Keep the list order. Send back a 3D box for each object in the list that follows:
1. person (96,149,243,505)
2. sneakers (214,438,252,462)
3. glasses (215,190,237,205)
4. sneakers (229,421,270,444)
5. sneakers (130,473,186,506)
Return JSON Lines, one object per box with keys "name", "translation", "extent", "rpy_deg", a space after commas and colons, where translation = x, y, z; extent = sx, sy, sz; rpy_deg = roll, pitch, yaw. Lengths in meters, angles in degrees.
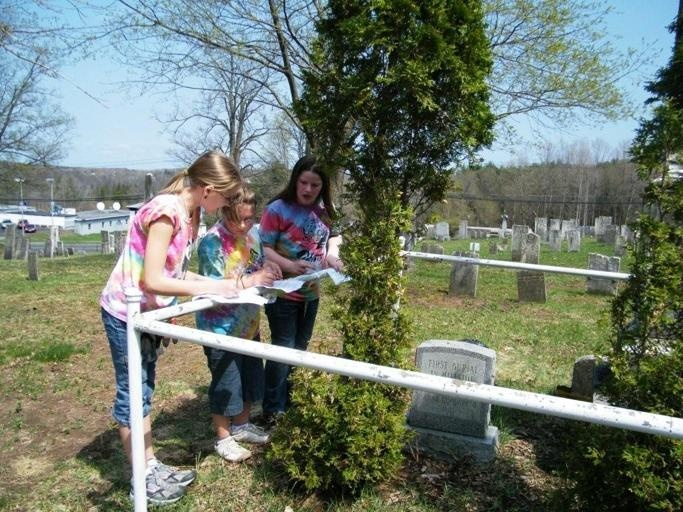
{"name": "person", "translation": [-1.148, 0.477, 3.394], "extent": [0.914, 2.380, 0.679], "rpy_deg": [1, 4, -17]}
{"name": "sneakers", "translation": [-0.846, 1.476, 3.943], "extent": [0.259, 0.122, 0.139], "rpy_deg": [6, 9, 30]}
{"name": "glasses", "translation": [-0.794, -0.421, 3.540], "extent": [0.112, 0.099, 0.087], "rpy_deg": [-11, -6, 26]}
{"name": "sneakers", "translation": [-0.758, 1.447, 4.226], "extent": [0.365, 0.160, 0.142], "rpy_deg": [4, -2, -2]}
{"name": "sneakers", "translation": [-1.203, 1.549, 3.450], "extent": [0.405, 0.208, 0.183], "rpy_deg": [3, -3, -8]}
